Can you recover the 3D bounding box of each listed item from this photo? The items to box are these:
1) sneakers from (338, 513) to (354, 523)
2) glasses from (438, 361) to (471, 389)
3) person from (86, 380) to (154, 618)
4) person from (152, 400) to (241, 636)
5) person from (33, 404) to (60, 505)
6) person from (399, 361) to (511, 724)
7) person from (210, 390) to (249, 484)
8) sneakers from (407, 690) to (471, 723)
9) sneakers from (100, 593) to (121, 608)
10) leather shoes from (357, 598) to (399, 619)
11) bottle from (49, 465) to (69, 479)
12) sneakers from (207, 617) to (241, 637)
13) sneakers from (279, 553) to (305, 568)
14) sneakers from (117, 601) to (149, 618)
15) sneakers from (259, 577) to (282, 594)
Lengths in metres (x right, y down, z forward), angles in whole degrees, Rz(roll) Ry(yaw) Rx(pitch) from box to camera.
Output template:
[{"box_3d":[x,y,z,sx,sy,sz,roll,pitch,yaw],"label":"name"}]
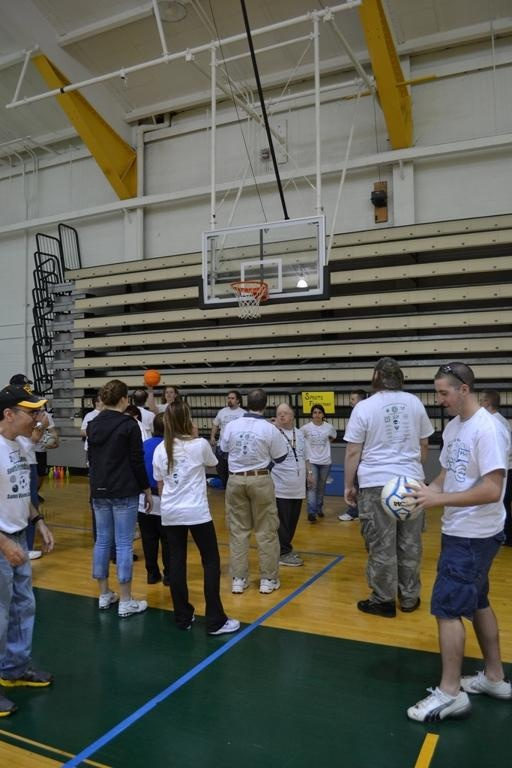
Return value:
[{"box_3d":[0.938,1.406,6.401,0.150,0.070,0.059,1,-3,-9],"label":"sneakers"},{"box_3d":[0.811,-0.036,2.529,0.093,0.133,0.129,8,22,36],"label":"glasses"},{"box_3d":[-0.833,0.692,3.747,0.380,1.429,0.441,-1,-2,-15],"label":"person"},{"box_3d":[-0.336,0.733,3.400,0.466,1.282,0.389,-1,-2,-10],"label":"person"},{"box_3d":[-2.093,0.694,5.985,0.305,0.906,0.278,4,0,33],"label":"person"},{"box_3d":[0.808,0.622,2.460,0.410,1.416,0.476,-2,-2,22],"label":"person"},{"box_3d":[-0.294,0.670,6.788,0.433,1.170,0.359,2,24,-8],"label":"person"},{"box_3d":[0.710,1.252,2.413,0.293,0.127,0.105,-6,-19,0],"label":"sneakers"},{"box_3d":[-0.935,1.375,3.895,0.053,0.064,0.150,-2,-1,10],"label":"sneakers"},{"box_3d":[0.718,1.330,3.667,0.243,0.104,0.091,2,0,35],"label":"leather shoes"},{"box_3d":[-3.400,1.521,10.503,0.220,0.188,0.224,-6,-12,40],"label":"bottle"},{"box_3d":[-0.180,1.330,3.354,0.168,0.076,0.064,-3,2,-22],"label":"sneakers"},{"box_3d":[0.279,1.374,4.735,0.197,0.089,0.074,1,-6,15],"label":"sneakers"},{"box_3d":[-0.753,1.359,3.753,0.206,0.094,0.077,-1,2,-39],"label":"sneakers"},{"box_3d":[0.084,1.350,4.113,0.062,0.080,0.176,1,2,20],"label":"sneakers"}]
